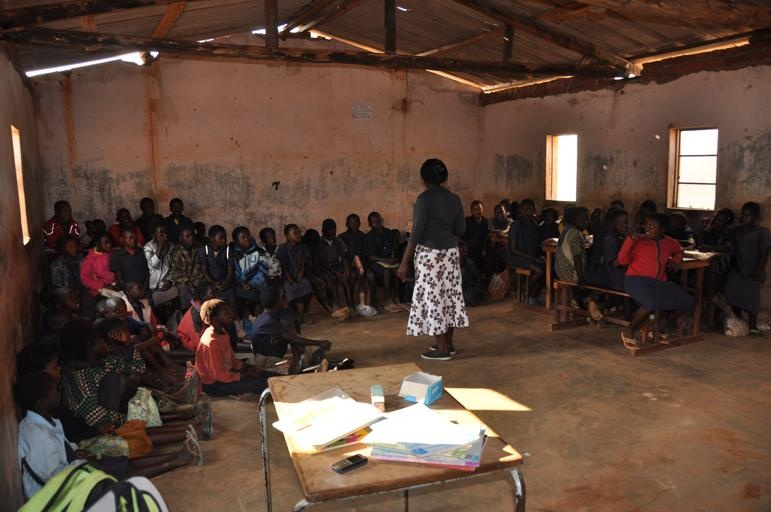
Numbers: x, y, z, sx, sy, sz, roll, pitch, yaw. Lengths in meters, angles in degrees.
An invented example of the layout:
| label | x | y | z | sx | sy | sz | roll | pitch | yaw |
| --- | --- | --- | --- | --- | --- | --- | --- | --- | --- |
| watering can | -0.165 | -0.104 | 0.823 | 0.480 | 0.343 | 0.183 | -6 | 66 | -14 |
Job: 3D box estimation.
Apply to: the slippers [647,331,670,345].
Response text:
| label | x | y | z | sx | sy | sz | roll | pitch | yaw |
| --- | --- | --- | --- | --- | --- | --- | --- | --- | --- |
| slippers | 3.220 | 0.977 | 7.495 | 0.372 | 0.158 | 0.121 | -3 | 9 | -23 |

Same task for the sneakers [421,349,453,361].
| label | x | y | z | sx | sy | sz | roll | pitch | yaw |
| --- | --- | --- | --- | --- | --- | --- | --- | --- | --- |
| sneakers | 0.584 | 1.132 | 7.283 | 0.353 | 0.140 | 0.140 | 3 | 6 | 11 |

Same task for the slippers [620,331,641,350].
| label | x | y | z | sx | sy | sz | roll | pitch | yaw |
| --- | --- | --- | --- | --- | --- | --- | --- | --- | --- |
| slippers | 2.874 | 1.001 | 7.468 | 0.128 | 0.061 | 0.259 | -2 | 20 | 14 |

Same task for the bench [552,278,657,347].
| label | x | y | z | sx | sy | sz | roll | pitch | yaw |
| --- | --- | --- | --- | --- | --- | --- | --- | --- | --- |
| bench | 2.577 | 0.684 | 8.149 | 0.768 | 0.585 | 1.067 | -12 | 21 | -38 |

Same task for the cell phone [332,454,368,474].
| label | x | y | z | sx | sy | sz | roll | pitch | yaw |
| --- | --- | --- | --- | --- | --- | --- | --- | --- | --- |
| cell phone | -0.224 | 1.296 | 3.974 | 0.174 | 0.035 | 0.094 | -12 | 17 | -31 |

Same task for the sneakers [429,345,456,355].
| label | x | y | z | sx | sy | sz | roll | pitch | yaw |
| --- | --- | --- | --- | --- | --- | --- | --- | --- | --- |
| sneakers | 0.649 | 1.087 | 7.356 | 0.324 | 0.129 | 0.121 | 3 | 5 | -2 |

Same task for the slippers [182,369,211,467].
| label | x | y | z | sx | sy | sz | roll | pitch | yaw |
| --- | --- | --- | --- | --- | --- | --- | --- | --- | --- |
| slippers | -1.737 | 1.521 | 5.853 | 0.355 | 0.903 | 0.275 | 1 | -18 | -23 |
